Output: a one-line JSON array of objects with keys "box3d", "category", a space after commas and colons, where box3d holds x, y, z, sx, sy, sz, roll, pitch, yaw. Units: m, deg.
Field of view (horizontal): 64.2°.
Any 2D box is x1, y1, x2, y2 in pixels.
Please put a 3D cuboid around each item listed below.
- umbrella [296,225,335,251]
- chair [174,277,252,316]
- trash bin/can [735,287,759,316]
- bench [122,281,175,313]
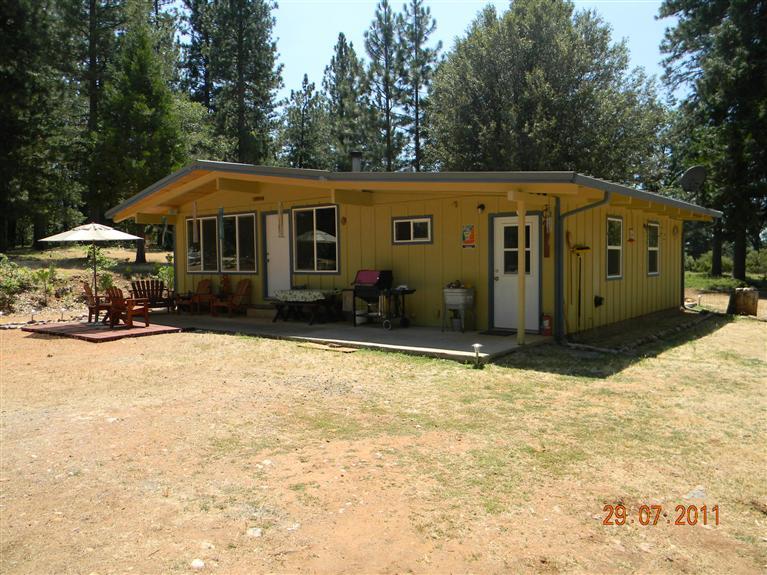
[{"box3d": [-1.548, -1.148, 14.099, 1.180, 0.380, 0.166, 8, 13, 40], "category": "umbrella"}, {"box3d": [-4.336, 0.220, 15.700, 2.556, 1.013, 0.840, 7, 12, 36], "category": "chair"}, {"box3d": [9.235, 0.377, 15.710, 0.649, 0.664, 0.562, 1, 10, 9], "category": "trash bin/can"}, {"box3d": [-6.039, 0.126, 15.997, 1.116, 0.875, 1.073, -4, 14, -44], "category": "bench"}]
